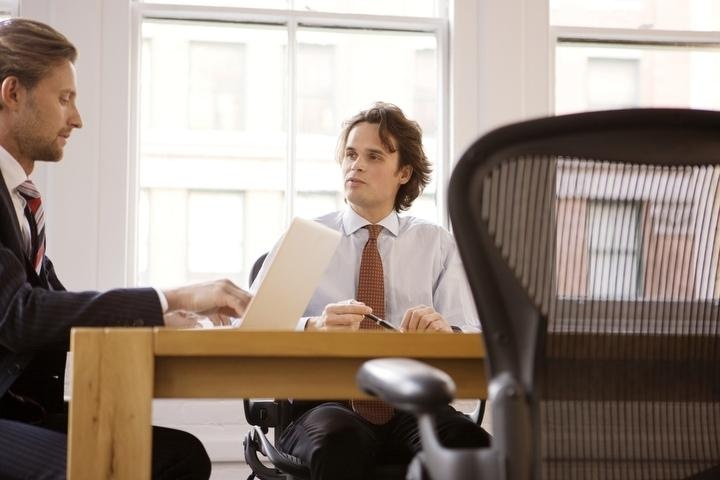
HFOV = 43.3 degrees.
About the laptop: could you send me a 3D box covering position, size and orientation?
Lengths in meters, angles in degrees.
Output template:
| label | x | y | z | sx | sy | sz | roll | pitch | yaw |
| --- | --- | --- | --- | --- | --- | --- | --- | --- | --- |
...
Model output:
| label | x | y | z | sx | sy | sz | roll | pitch | yaw |
| --- | --- | --- | --- | --- | --- | --- | --- | --- | --- |
| laptop | -0.279 | 0.109 | 2.542 | 0.291 | 0.265 | 0.365 | 21 | 0 | 30 |
